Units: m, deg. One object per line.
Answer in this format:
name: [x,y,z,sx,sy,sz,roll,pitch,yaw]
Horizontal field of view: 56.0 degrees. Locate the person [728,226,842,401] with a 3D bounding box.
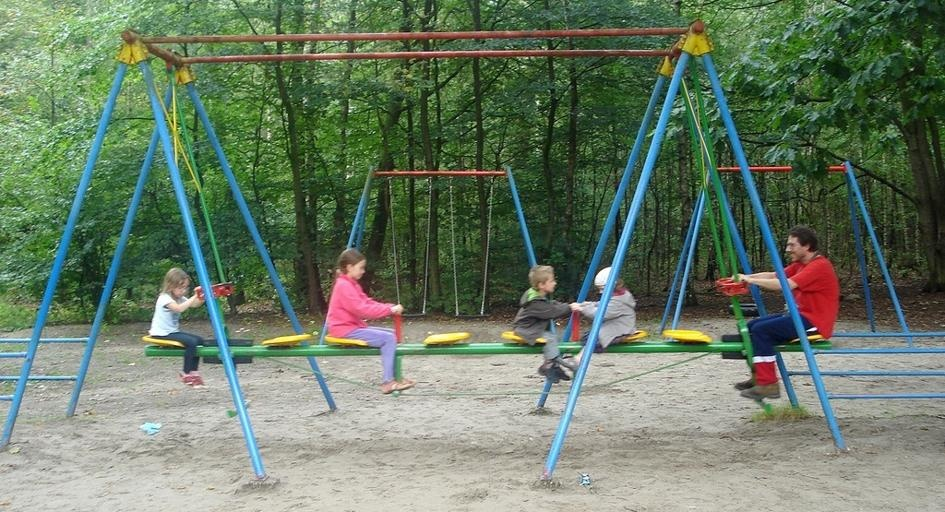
person: [5.022,0.944,14.215,1.577,2.823,0.909,-8,13,-27]

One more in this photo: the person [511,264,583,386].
person: [1.165,1.158,14.271,1.023,1.961,0.986,-2,11,0]

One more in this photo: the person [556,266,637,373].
person: [1.978,0.985,14.414,1.702,1.323,0.740,-4,2,-14]

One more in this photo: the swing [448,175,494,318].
swing: [-0.030,-0.063,24.448,1.667,3.474,1.246,-2,2,-40]
